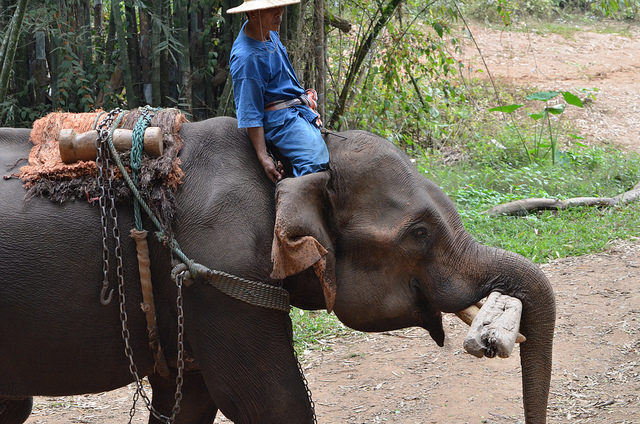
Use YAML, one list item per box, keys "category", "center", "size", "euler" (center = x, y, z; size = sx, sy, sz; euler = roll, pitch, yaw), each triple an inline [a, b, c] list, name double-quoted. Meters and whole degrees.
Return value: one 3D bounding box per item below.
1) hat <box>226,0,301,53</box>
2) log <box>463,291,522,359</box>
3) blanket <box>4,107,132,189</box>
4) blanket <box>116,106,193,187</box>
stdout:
- category: "hat"
  center: [-0.323, -1.025, 3.628]
  size: [0.363, 0.276, 0.212]
  euler: [0, 13, -8]
- category: "log"
  center: [0.890, 0.563, 3.330]
  size: [0.231, 0.252, 0.362]
  euler: [7, 13, 21]
- category: "blanket"
  center: [-1.353, -0.340, 3.536]
  size: [0.427, 0.172, 0.550]
  euler: [24, 39, 28]
- category: "blanket"
  center: [-0.849, -0.365, 3.496]
  size: [0.325, 0.400, 0.133]
  euler: [11, -11, -8]
